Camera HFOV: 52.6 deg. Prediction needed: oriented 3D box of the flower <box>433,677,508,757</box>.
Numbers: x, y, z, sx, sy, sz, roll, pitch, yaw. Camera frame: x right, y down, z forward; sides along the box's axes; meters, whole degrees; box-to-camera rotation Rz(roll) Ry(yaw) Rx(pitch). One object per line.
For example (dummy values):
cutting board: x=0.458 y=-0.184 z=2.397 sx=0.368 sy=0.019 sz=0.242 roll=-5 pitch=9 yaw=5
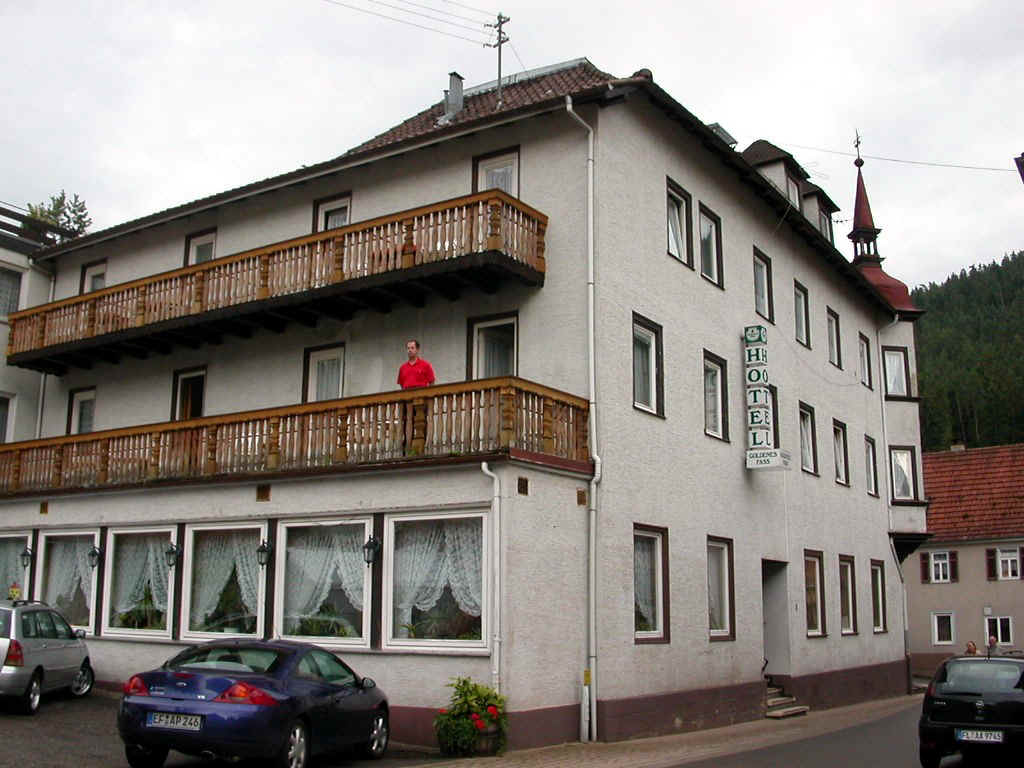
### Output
flower: x=-0.761 y=5.795 z=17.910 sx=1.132 sy=1.203 sz=1.075 roll=11 pitch=-28 yaw=-27

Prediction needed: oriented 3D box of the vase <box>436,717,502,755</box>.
vase: x=-0.747 y=5.968 z=17.560 sx=0.771 sy=0.425 sz=0.768 roll=4 pitch=-21 yaw=-1
